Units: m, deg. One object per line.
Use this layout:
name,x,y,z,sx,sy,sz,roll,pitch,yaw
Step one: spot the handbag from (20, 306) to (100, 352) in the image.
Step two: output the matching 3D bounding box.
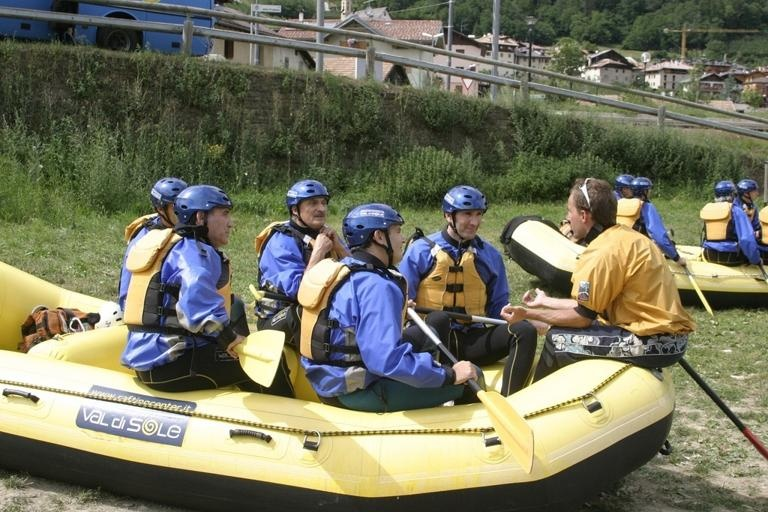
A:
handbag,-5.028,1.041,17.207,0.700,0.330,0.929,18,22,30

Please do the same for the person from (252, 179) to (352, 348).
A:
person,-1.238,0.100,17.032,0.944,2.474,1.226,-1,3,-41

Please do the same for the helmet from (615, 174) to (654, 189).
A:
helmet,4.860,-1.398,21.332,0.624,0.225,0.433,2,10,-24

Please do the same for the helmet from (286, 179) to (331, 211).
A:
helmet,-1.147,-0.915,17.073,0.547,0.410,0.415,4,2,24

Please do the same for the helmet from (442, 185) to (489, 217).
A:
helmet,1.235,-0.823,16.858,0.411,0.333,0.553,-2,0,-38

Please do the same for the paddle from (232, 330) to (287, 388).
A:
paddle,-1.777,1.392,15.753,0.649,0.671,0.474,9,13,15

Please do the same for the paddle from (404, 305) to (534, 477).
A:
paddle,1.222,1.989,15.877,0.152,0.528,3.279,-14,52,-43

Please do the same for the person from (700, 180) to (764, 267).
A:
person,6.574,-0.477,21.068,0.785,1.842,1.582,-1,2,45

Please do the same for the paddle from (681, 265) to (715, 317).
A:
paddle,5.712,0.673,20.317,0.116,0.121,1.106,42,27,-42
